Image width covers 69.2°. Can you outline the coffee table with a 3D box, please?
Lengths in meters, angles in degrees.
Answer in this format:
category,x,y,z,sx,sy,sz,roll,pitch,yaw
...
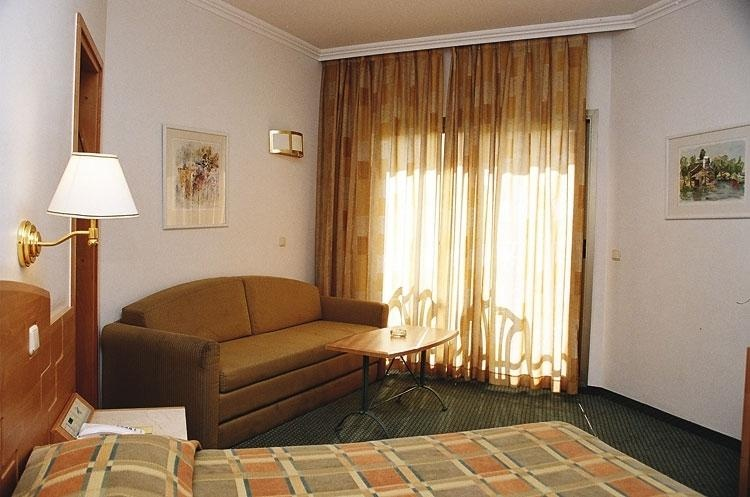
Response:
category,x,y,z,sx,sy,sz,roll,pitch,yaw
coffee table,0.170,0.875,4.577,0.714,0.802,1.214,2,5,33

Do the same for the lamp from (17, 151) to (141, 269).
category,x,y,z,sx,sy,sz,roll,pitch,yaw
lamp,-1.528,-0.233,2.920,0.590,0.626,0.463,0,6,4

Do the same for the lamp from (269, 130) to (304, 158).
category,x,y,z,sx,sy,sz,roll,pitch,yaw
lamp,-0.905,-1.109,5.725,0.147,0.275,0.475,6,9,29
